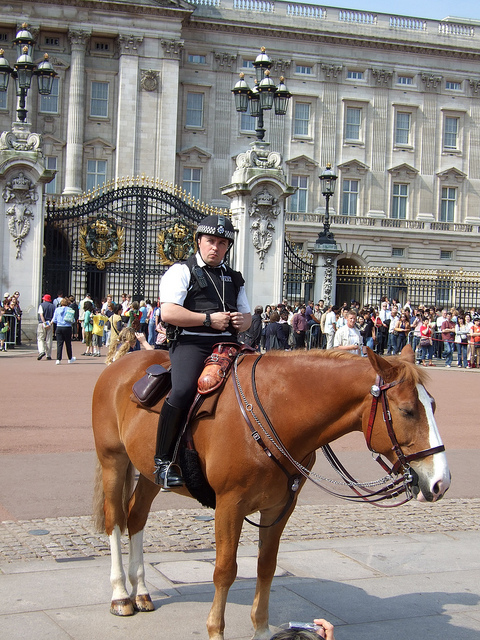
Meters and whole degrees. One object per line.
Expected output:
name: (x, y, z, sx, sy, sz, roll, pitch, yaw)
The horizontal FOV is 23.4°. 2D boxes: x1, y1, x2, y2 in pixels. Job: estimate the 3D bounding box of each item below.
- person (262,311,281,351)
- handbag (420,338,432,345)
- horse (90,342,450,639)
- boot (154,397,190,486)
person: (0.584, 0.300, 19.760, 0.328, 0.933, 0.268, 5, 17, 19)
handbag: (4.447, 0.481, 27.676, 0.212, 0.118, 0.058, 0, -1, -3)
horse: (0.056, 1.053, 7.374, 2.561, 1.793, 0.878, 4, 0, 42)
boot: (-0.435, 0.756, 7.319, 0.139, 0.526, 0.211, 3, 1, -37)
